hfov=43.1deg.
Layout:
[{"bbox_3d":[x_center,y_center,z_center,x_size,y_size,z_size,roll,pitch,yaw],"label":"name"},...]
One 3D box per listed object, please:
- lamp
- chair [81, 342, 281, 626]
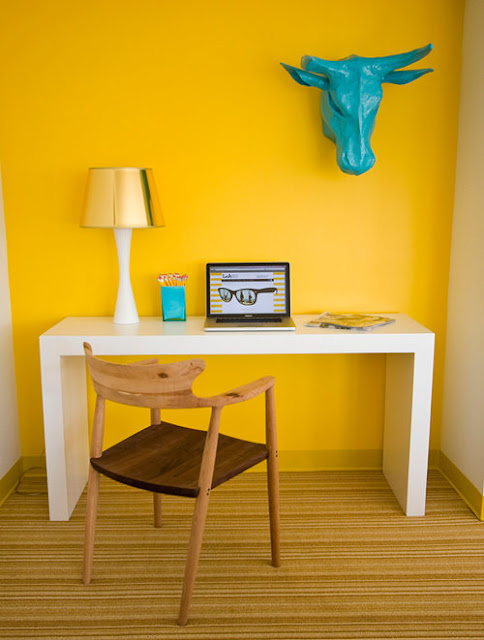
[{"bbox_3d":[-0.453,-0.272,2.313,0.252,0.585,0.232,2,13,15],"label":"lamp"},{"bbox_3d":[-0.197,0.416,1.841,0.537,0.757,0.536,-8,14,-43],"label":"chair"}]
